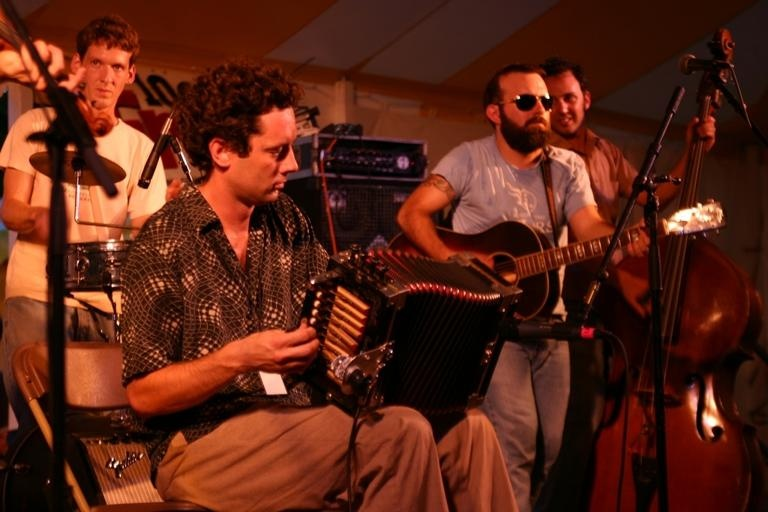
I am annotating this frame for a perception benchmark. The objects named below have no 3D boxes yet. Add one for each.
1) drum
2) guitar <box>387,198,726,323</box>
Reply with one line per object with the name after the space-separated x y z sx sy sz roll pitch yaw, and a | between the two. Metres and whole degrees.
-1.711 0.064 4.475 0.428 0.166 0.449 1 -5 0 | drum
1.030 0.097 4.839 1.843 0.748 0.257 -11 -33 -3 | guitar
